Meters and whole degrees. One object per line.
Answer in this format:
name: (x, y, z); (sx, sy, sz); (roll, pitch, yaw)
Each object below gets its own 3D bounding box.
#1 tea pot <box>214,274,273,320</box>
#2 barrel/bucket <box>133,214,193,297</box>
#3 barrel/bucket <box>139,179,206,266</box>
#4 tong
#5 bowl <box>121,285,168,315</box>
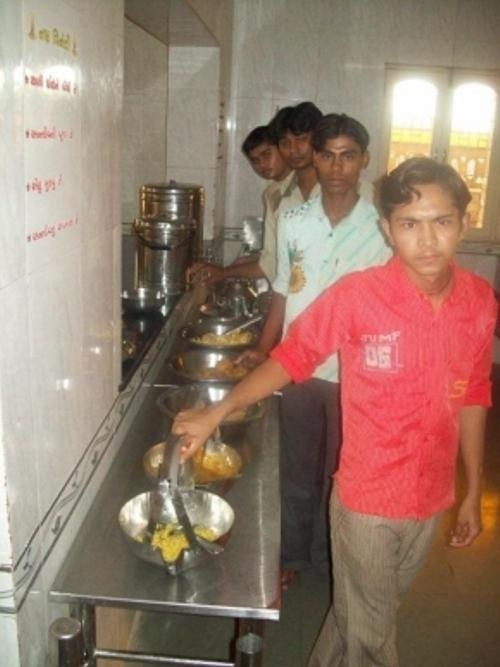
tea pot: (-0.035, -0.167, 3.058); (0.301, 0.124, 0.240); (5, 29, 1)
barrel/bucket: (-0.432, -0.395, 2.789); (0.304, 0.417, 0.343); (1, 10, -8)
barrel/bucket: (-0.391, -0.641, 3.094); (0.417, 0.525, 0.421); (1, 15, 0)
tong: (-0.128, 0.276, 1.063); (0.160, 0.258, 0.145); (1, 5, -27)
bowl: (-0.466, -0.145, 2.542); (0.195, 0.078, 0.357); (-2, 11, -11)
